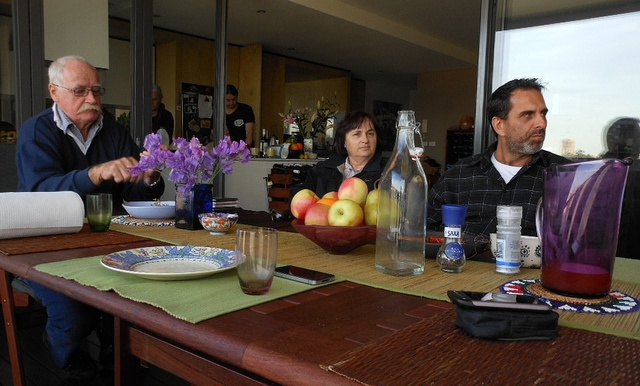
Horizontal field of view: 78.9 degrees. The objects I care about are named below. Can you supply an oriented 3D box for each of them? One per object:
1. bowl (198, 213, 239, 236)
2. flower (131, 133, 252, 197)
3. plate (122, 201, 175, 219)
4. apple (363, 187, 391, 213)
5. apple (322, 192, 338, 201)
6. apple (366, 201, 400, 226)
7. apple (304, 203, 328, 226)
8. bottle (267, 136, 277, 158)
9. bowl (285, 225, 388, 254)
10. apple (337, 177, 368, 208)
[{"bbox_3d":[-0.412,0.124,1.608,0.110,0.049,0.107,-1,-1,0],"label":"bowl"},{"bbox_3d":[-0.541,-0.147,1.697,0.352,0.182,0.313,-4,7,-11],"label":"flower"},{"bbox_3d":[-0.824,0.082,1.850,0.179,0.040,0.129,-1,1,17],"label":"plate"},{"bbox_3d":[0.175,0.016,1.287,0.065,0.063,0.076,9,21,-40],"label":"apple"},{"bbox_3d":[0.032,0.011,1.423,0.033,0.038,0.034,7,-17,16],"label":"apple"},{"bbox_3d":[0.193,0.069,1.246,0.079,0.072,0.075,2,-7,-9],"label":"apple"},{"bbox_3d":[-0.004,0.069,1.322,0.070,0.066,0.068,12,4,13],"label":"apple"},{"bbox_3d":[-0.747,-0.736,6.062,0.141,0.310,0.542,-1,7,-7],"label":"bottle"},{"bbox_3d":[0.057,0.156,1.375,0.321,0.101,0.312,0,2,0],"label":"bowl"},{"bbox_3d":[0.100,0.003,1.407,0.102,0.096,0.110,6,34,-14],"label":"apple"}]
